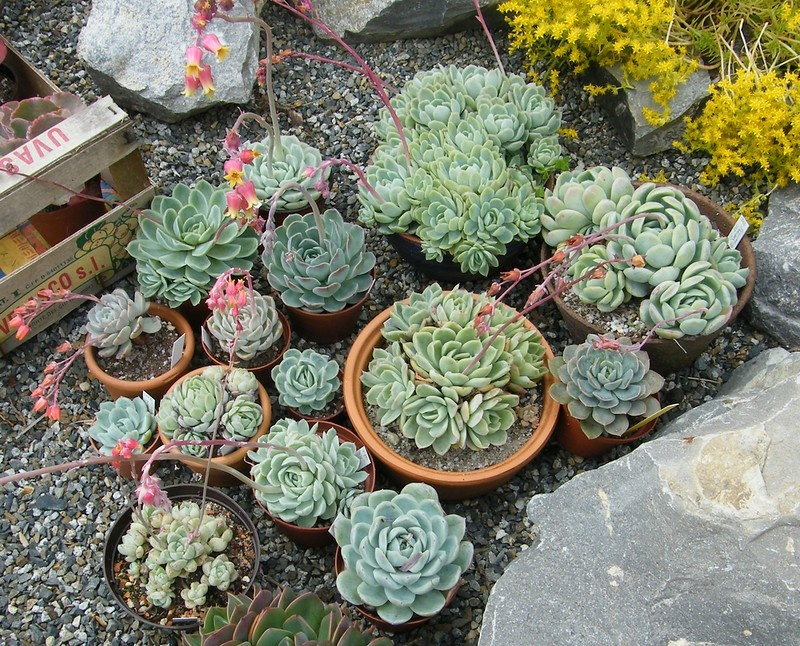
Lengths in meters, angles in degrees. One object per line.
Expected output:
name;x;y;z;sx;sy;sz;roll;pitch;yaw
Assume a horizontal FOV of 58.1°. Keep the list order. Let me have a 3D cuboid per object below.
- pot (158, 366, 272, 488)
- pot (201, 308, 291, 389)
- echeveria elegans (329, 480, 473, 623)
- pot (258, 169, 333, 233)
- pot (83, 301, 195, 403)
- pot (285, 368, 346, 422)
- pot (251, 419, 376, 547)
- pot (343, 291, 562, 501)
pot;-0.685;0.401;2.872;0.390;0.312;0.435;22;66;2
pot;-0.627;0.112;2.997;0.285;0.234;0.346;7;60;2
echeveria elegans;0.006;0.750;2.499;0.401;0.289;0.470;-12;75;2
pot;-0.434;-0.510;2.940;0.263;0.272;0.179;-28;87;-6
pot;-1.075;0.173;3.082;0.378;0.293;0.439;9;66;-4
pot;-0.318;0.305;2.900;0.170;0.150;0.218;-1;78;-1
pot;-0.282;0.641;2.676;0.441;0.303;0.499;15;58;9
pot;0.190;0.251;2.737;0.812;0.516;0.702;-4;58;-3
